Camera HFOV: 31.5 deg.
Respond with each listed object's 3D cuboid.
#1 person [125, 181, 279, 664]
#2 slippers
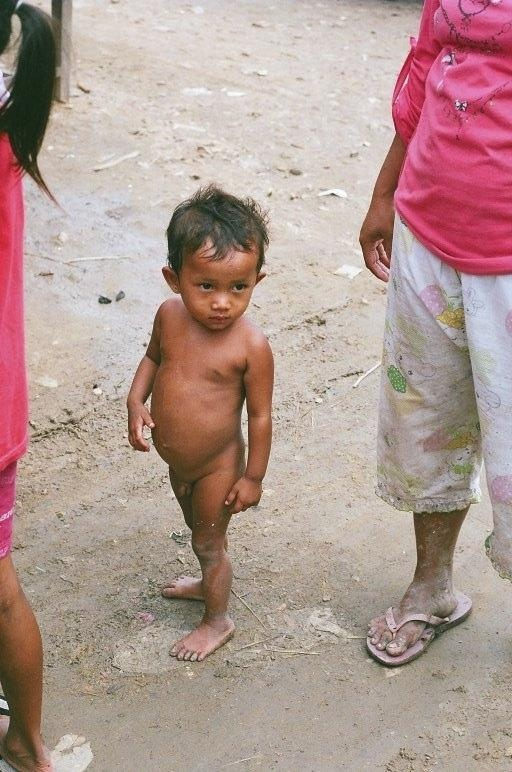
[{"bbox_3d":[-0.149,0.106,2.336,0.417,1.212,0.305,27,31,36],"label":"person"},{"bbox_3d":[0.456,0.658,2.500,0.309,0.071,0.124,-24,34,-29],"label":"slippers"}]
